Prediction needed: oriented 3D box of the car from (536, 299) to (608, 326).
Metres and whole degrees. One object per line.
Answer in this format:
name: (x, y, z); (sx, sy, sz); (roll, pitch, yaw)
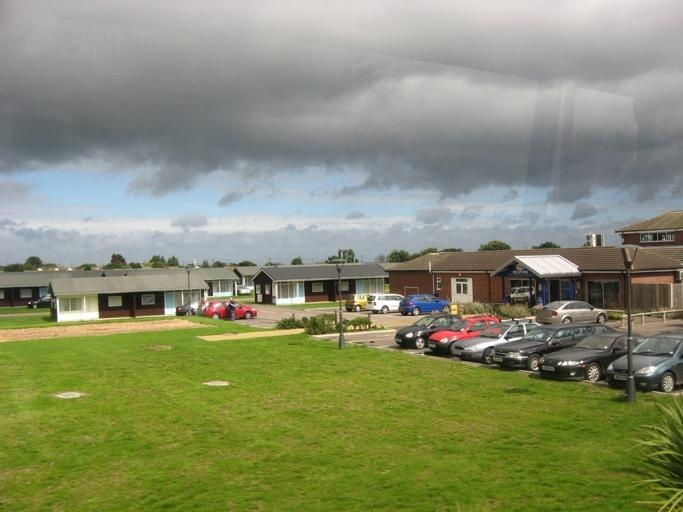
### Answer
car: (14.097, 3.538, 38.657); (4.903, 1.222, 1.998); (-3, 3, -21)

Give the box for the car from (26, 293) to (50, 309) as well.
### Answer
car: (-33.723, 5.087, 69.543); (2.257, 1.062, 4.821); (-4, 6, -23)

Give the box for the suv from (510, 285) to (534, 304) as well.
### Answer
suv: (14.588, 3.137, 51.208); (2.271, 1.032, 1.269); (2, -5, -32)
